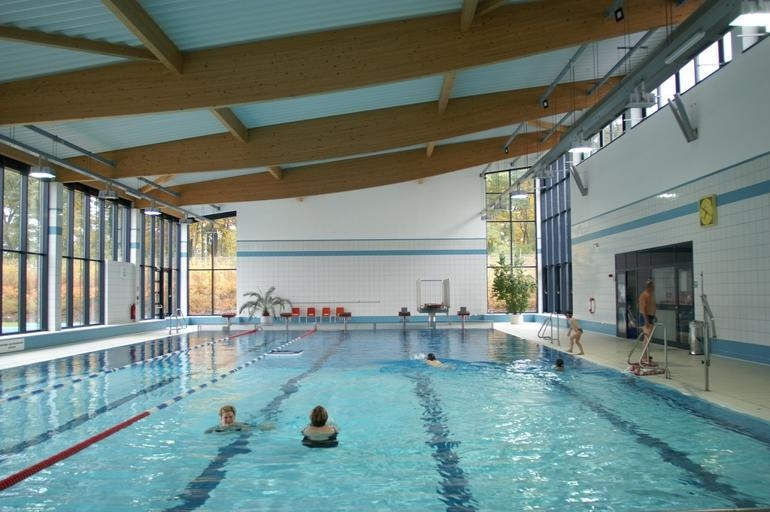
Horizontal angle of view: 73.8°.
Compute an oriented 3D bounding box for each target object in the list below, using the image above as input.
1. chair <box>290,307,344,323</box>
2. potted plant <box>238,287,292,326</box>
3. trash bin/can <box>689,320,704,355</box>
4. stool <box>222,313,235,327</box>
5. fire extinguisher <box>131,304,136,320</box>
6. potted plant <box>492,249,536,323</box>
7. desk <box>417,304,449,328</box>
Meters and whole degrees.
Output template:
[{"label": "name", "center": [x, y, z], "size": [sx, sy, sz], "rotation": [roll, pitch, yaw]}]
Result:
[{"label": "chair", "center": [-2.642, 2.287, 20.269], "size": [2.018, 0.577, 0.522], "rotation": [-1, 5, 3]}, {"label": "potted plant", "center": [-4.750, 1.979, 20.545], "size": [1.920, 0.941, 1.652], "rotation": [0, -2, -11]}, {"label": "trash bin/can", "center": [5.217, 1.400, 8.765], "size": [0.326, 0.525, 0.343], "rotation": [0, -8, 20]}, {"label": "stool", "center": [-5.844, 2.417, 19.491], "size": [0.711, 0.549, 0.593], "rotation": [-1, -7, -1]}, {"label": "fire extinguisher", "center": [-8.419, 1.895, 17.528], "size": [0.118, 0.533, 0.176], "rotation": [1, 6, 31]}, {"label": "potted plant", "center": [4.685, 1.091, 19.447], "size": [1.404, 2.249, 1.530], "rotation": [-1, 5, 5]}, {"label": "desk", "center": [1.583, 2.001, 17.391], "size": [1.106, 0.778, 1.039], "rotation": [0, -5, 0]}]
